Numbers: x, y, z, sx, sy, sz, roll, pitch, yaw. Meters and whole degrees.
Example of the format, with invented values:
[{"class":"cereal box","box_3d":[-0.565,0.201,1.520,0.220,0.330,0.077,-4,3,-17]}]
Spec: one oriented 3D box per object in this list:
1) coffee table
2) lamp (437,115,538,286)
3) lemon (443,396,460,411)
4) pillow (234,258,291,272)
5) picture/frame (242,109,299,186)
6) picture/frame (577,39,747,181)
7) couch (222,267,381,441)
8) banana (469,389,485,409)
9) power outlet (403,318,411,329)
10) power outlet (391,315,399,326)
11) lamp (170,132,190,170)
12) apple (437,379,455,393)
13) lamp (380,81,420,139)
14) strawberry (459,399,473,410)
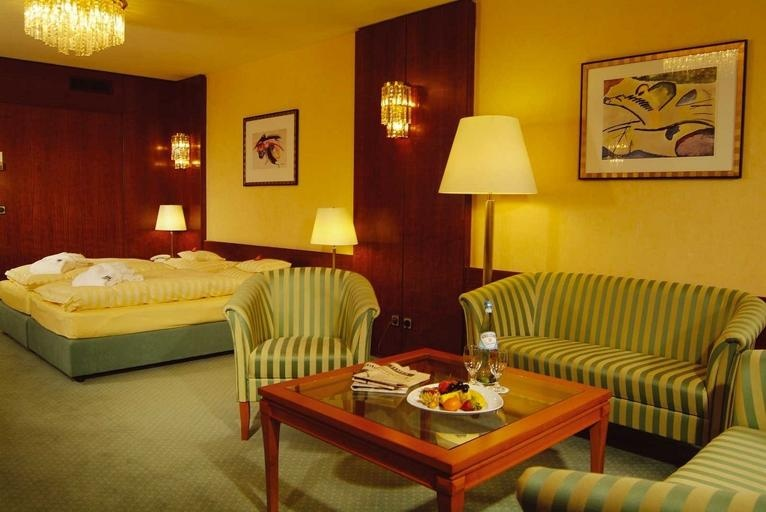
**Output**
[{"class":"coffee table","box_3d":[0.398,0.507,2.999,1.102,0.690,1.089,-3,4,-43]},{"class":"lamp","box_3d":[0.794,-0.400,4.284,0.675,1.254,0.552,-10,16,-39]},{"class":"lemon","box_3d":[0.344,0.748,2.930,0.067,0.049,0.068,5,11,35]},{"class":"pillow","box_3d":[-1.294,0.088,6.020,0.283,0.083,0.303,2,5,45]},{"class":"picture/frame","box_3d":[-1.240,-1.239,6.519,0.901,0.812,0.061,4,6,44]},{"class":"picture/frame","box_3d":[2.011,-1.041,4.100,1.080,0.927,0.079,2,1,37]},{"class":"couch","box_3d":[-0.601,0.699,4.452,1.164,1.228,1.135,0,-7,-3]},{"class":"banana","box_3d":[0.473,0.725,2.961,0.067,0.024,0.069,25,20,39]},{"class":"power outlet","box_3d":[0.216,0.604,5.264,0.090,0.102,0.011,4,5,44]},{"class":"power outlet","box_3d":[0.112,0.590,5.355,0.102,0.111,0.009,11,16,40]},{"class":"lamp","box_3d":[-2.672,-1.370,7.618,0.192,0.475,0.389,-12,17,-43]},{"class":"apple","box_3d":[0.323,0.675,3.005,0.060,0.074,0.063,15,-14,11]},{"class":"lamp","box_3d":[0.132,-1.287,5.130,0.237,0.476,0.277,-12,17,-43]},{"class":"strawberry","box_3d":[0.417,0.747,2.920,0.050,0.047,0.047,-8,-22,7]}]
